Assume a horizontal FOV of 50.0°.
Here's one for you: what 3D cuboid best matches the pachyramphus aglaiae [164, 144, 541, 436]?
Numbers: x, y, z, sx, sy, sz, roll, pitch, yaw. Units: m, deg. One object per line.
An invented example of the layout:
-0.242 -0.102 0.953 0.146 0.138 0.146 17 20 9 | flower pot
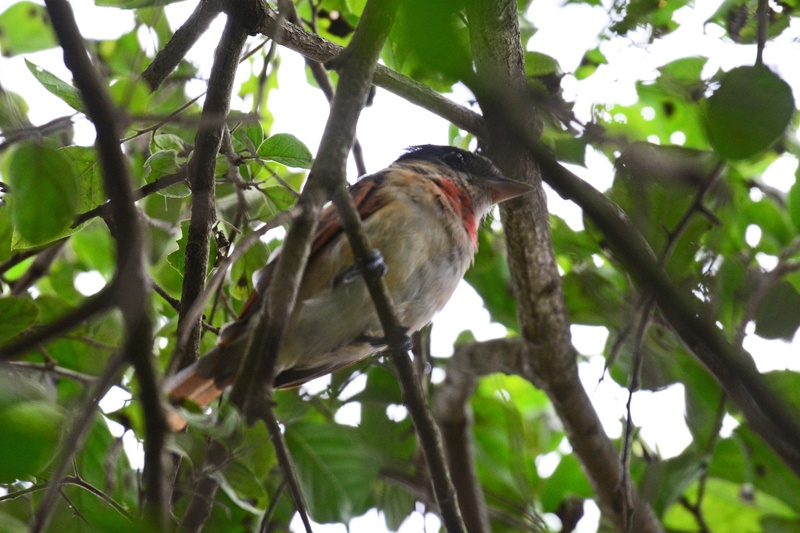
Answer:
-0.362 0.211 4.428 2.310 0.999 0.802 -25 -50 -5 | pachyramphus aglaiae
